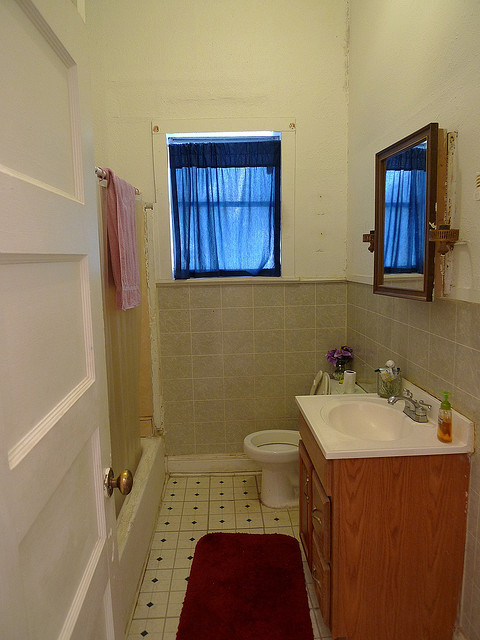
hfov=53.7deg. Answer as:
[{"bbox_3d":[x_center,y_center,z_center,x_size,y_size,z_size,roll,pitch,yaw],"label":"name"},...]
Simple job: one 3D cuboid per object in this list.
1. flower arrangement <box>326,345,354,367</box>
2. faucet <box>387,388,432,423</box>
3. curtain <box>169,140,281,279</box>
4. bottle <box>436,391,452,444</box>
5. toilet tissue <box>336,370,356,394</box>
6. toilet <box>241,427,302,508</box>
[{"bbox_3d":[0.596,0.215,2.902,0.121,0.112,0.198,-5,7,-27],"label":"flower arrangement"},{"bbox_3d":[0.622,0.311,1.802,0.134,0.070,0.274,-3,6,2],"label":"faucet"},{"bbox_3d":[-0.085,-0.666,2.923,0.665,0.814,0.101,-3,5,-5],"label":"curtain"},{"bbox_3d":[0.665,0.303,1.547,0.047,0.155,0.146,0,6,24],"label":"bottle"},{"bbox_3d":[0.545,0.314,2.439,0.107,0.146,0.073,-1,2,18],"label":"toilet tissue"},{"bbox_3d":[0.178,0.832,2.666,0.300,0.362,0.421,-2,6,7],"label":"toilet"}]
